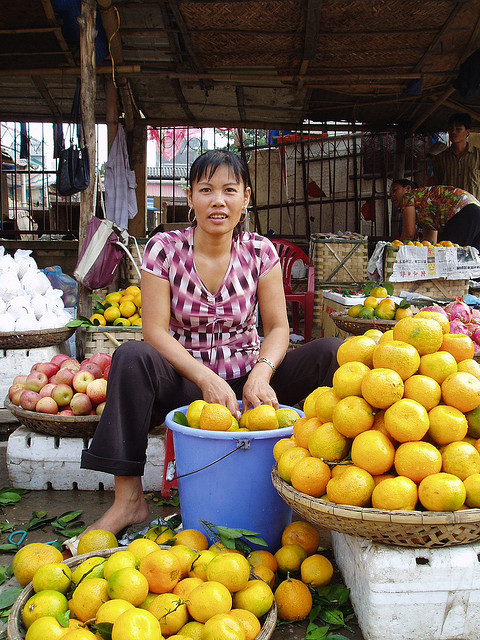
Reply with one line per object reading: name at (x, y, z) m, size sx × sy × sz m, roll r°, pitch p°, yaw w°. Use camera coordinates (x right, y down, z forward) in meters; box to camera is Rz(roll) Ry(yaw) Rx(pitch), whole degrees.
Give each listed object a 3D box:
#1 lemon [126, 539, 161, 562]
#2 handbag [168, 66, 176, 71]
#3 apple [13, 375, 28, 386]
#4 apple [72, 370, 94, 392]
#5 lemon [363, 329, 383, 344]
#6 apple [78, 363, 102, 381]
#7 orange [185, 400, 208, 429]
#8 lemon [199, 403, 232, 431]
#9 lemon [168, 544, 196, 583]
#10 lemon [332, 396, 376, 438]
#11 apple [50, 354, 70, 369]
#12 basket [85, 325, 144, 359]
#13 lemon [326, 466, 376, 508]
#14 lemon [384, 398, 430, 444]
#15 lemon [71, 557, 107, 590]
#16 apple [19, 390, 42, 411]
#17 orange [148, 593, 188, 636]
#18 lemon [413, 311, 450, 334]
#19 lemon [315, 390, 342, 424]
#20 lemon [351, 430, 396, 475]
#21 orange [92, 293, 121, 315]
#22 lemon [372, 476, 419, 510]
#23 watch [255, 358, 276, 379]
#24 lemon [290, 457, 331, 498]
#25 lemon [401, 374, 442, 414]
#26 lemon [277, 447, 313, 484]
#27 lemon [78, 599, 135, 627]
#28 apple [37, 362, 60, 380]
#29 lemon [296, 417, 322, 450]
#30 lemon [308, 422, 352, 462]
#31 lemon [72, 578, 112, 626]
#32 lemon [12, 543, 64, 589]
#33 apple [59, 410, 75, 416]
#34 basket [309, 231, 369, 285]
lemon at (-0.261, 0.609, 1.498) m, size 0.062 × 0.051 × 0.051 m, roll -15°, pitch -27°, yaw -5°
handbag at (-0.682, -2.506, 5.601) m, size 0.073 × 0.017 × 0.065 m, roll -2°, pitch -9°, yaw 2°
apple at (-1.172, 0.317, 2.987) m, size 0.065 × 0.057 × 0.063 m, roll 0°, pitch 2°, yaw -18°
apple at (-0.760, 0.309, 2.731) m, size 0.090 × 0.090 × 0.088 m, roll -7°, pitch -19°, yaw -16°
lemon at (0.431, 0.054, 1.783) m, size 0.050 × 0.056 × 0.049 m, roll 8°, pitch -13°, yaw -32°
apple at (-0.746, 0.252, 2.818) m, size 0.081 × 0.081 × 0.080 m, roll 3°, pitch 27°, yaw -8°
orange at (-0.121, 0.298, 1.769) m, size 0.079 × 0.092 × 0.077 m, roll 2°, pitch 3°, yaw -1°
lemon at (-0.077, 0.299, 1.743) m, size 0.094 × 0.082 × 0.078 m, roll -5°, pitch -5°, yaw -38°
lemon at (-0.144, 0.630, 1.448) m, size 0.068 × 0.080 × 0.069 m, roll -10°, pitch -14°, yaw 40°
lemon at (0.287, 0.248, 1.430) m, size 0.102 × 0.099 × 0.100 m, roll -7°, pitch 40°, yaw 15°
apple at (-0.989, 0.232, 3.089) m, size 0.067 × 0.041 × 0.072 m, roll 0°, pitch 15°, yaw -14°
basket at (-0.865, 0.126, 3.694) m, size 0.331 × 0.196 × 0.323 m, roll 0°, pitch 1°, yaw -8°
lemon at (0.268, 0.401, 1.383) m, size 0.098 × 0.097 × 0.096 m, roll -31°, pitch 50°, yaw -16°
lemon at (0.407, 0.245, 1.357) m, size 0.110 × 0.102 × 0.078 m, roll -2°, pitch 4°, yaw 8°
lemon at (-0.388, 0.636, 1.435) m, size 0.066 × 0.067 × 0.090 m, roll -29°, pitch -17°, yaw 29°
apple at (-0.983, 0.379, 2.628) m, size 0.085 × 0.086 × 0.089 m, roll 24°, pitch 24°, yaw -4°
orange at (-0.157, 0.672, 1.278) m, size 0.080 × 0.089 × 0.077 m, roll -1°, pitch -34°, yaw -2°
lemon at (0.581, 0.011, 1.711) m, size 0.086 × 0.081 × 0.084 m, roll -5°, pitch -2°, yaw 4°
lemon at (0.232, 0.233, 1.513) m, size 0.081 × 0.094 × 0.080 m, roll 1°, pitch 6°, yaw 6°
lemon at (0.317, 0.322, 1.399) m, size 0.105 × 0.101 × 0.099 m, roll -4°, pitch -1°, yaw -4°
orange at (-1.045, -0.135, 4.422) m, size 0.181 × 0.088 × 0.180 m, roll -36°, pitch 50°, yaw -28°
lemon at (0.345, 0.385, 1.274) m, size 0.082 × 0.073 × 0.078 m, roll 1°, pitch 3°, yaw 22°
watch at (0.094, 0.186, 2.106) m, size 0.071 × 0.067 × 0.044 m, roll 38°, pitch 7°, yaw -10°
lemon at (0.177, 0.390, 1.391) m, size 0.096 × 0.110 × 0.096 m, roll -2°, pitch -13°, yaw 2°
lemon at (0.456, 0.184, 1.418) m, size 0.098 × 0.092 × 0.089 m, roll 4°, pitch -4°, yaw 2°
lemon at (0.135, 0.387, 1.496) m, size 0.086 × 0.082 × 0.085 m, roll -2°, pitch -20°, yaw 30°
lemon at (-0.284, 0.635, 1.213) m, size 0.088 × 0.035 × 0.044 m, roll -17°, pitch 3°, yaw 6°
apple at (-0.987, 0.258, 2.934) m, size 0.078 × 0.077 × 0.091 m, roll 27°, pitch 8°, yaw 20°
lemon at (0.185, 0.313, 1.548) m, size 0.074 × 0.091 × 0.077 m, roll 5°, pitch -5°, yaw 33°
lemon at (0.242, 0.316, 1.467) m, size 0.100 × 0.110 × 0.089 m, roll 9°, pitch -36°, yaw 19°
lemon at (-0.365, 0.650, 1.319) m, size 0.078 × 0.087 × 0.073 m, roll -11°, pitch 6°, yaw -6°
lemon at (-0.578, 0.692, 1.565) m, size 0.106 × 0.112 × 0.114 m, roll 21°, pitch -46°, yaw -30°
apple at (-0.792, 0.431, 2.587) m, size 0.029 × 0.028 × 0.030 m, roll 3°, pitch -1°, yaw 36°
basket at (1.051, -0.606, 6.010) m, size 0.702 × 0.500 × 0.714 m, roll 3°, pitch 4°, yaw 29°
